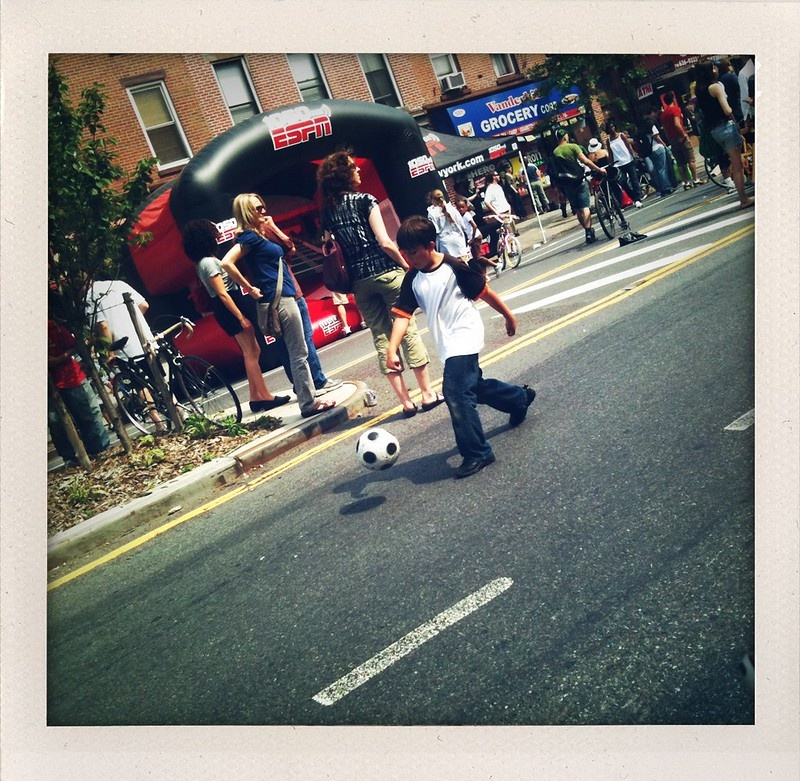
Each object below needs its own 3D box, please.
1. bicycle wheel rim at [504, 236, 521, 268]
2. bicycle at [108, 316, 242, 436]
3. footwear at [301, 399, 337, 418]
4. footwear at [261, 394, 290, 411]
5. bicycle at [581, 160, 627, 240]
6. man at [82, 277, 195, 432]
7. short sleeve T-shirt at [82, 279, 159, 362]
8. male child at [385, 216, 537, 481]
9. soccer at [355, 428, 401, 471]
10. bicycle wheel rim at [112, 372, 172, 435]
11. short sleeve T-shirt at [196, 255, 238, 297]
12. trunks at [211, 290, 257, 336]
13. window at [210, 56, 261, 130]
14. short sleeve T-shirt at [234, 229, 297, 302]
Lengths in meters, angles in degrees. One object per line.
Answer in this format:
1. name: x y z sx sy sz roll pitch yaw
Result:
1. bicycle wheel rim: 2.016 -2.468 12.809 0.201 0.524 0.502 -16 14 -36
2. bicycle: -2.443 -0.191 7.247 0.351 0.864 1.388 -36 -6 27
3. footwear: -0.775 0.179 6.607 0.349 0.153 0.131 -21 10 -4
4. footwear: -1.279 0.123 7.235 0.097 0.115 0.295 11 23 39
5. bicycle: 3.197 -3.085 11.535 0.613 0.812 1.366 -18 26 23
6. man: -3.076 -0.133 7.314 1.539 1.056 0.753 -7 -12 36
7. short sleeve T-shirt: -2.762 -0.657 6.876 0.316 0.866 0.665 18 40 42
8. male child: 0.392 -0.346 4.686 0.765 1.506 0.626 -26 8 -38
9. soccer: -0.162 0.401 4.948 0.257 0.290 0.273 -1 1 4
10. bicycle wheel rim: -2.656 0.134 7.151 0.766 0.511 0.379 9 30 24
11. short sleeve T-shirt: -1.687 -1.058 6.514 0.255 0.447 0.442 -28 23 -17
12. trunks: -1.624 -0.761 6.926 0.192 0.352 0.390 -25 18 18
13. window: -1.770 -3.146 7.724 0.367 1.109 0.082 -16 -20 -14
14. short sleeve T-shirt: -1.232 -1.091 6.290 0.392 0.726 0.739 -28 17 -1
